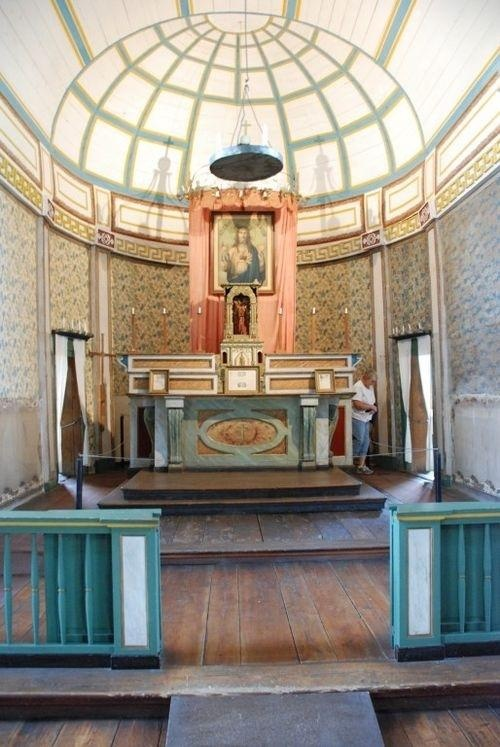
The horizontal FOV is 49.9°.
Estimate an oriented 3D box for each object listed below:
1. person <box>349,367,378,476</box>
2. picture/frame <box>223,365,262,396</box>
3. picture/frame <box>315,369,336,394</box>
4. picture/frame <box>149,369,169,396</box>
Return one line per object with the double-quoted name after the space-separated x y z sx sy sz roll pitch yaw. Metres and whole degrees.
1.508 0.675 7.183 0.297 1.373 0.737 -1 1 11 "person"
-0.091 0.097 5.775 0.276 0.274 0.035 0 -15 -4 "picture/frame"
0.797 0.098 5.778 0.223 0.304 0.048 5 -30 -6 "picture/frame"
-0.970 0.112 5.692 0.249 0.389 0.043 1 -24 -11 "picture/frame"
